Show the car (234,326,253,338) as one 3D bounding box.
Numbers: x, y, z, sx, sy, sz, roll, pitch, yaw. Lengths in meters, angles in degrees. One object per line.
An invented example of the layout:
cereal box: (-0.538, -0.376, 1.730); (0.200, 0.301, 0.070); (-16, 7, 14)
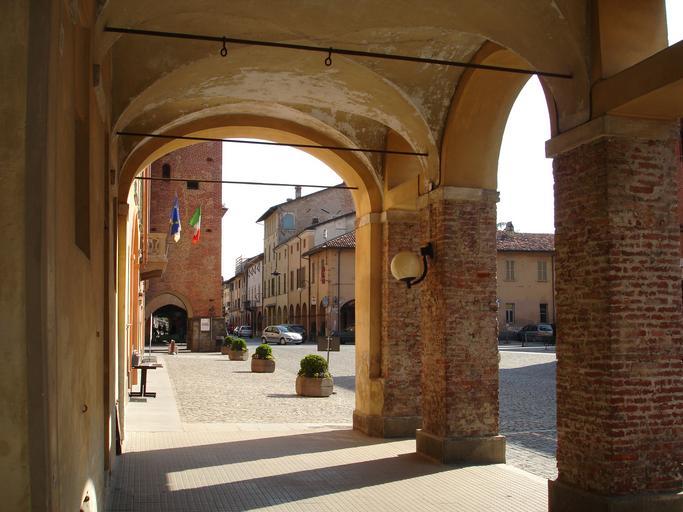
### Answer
car: (-8.915, 7.047, 68.216); (1.086, 1.027, 2.063); (1, 4, -13)

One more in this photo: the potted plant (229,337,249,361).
potted plant: (-4.094, 3.760, 29.614); (0.678, 0.831, 0.733); (2, -6, -5)

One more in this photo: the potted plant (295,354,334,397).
potted plant: (-0.641, 2.672, 16.797); (0.812, 0.955, 0.853); (-6, -7, 37)

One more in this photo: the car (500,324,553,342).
car: (11.512, 4.835, 45.019); (1.183, 0.998, 2.712); (3, 1, -24)

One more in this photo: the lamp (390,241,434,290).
lamp: (1.009, 0.138, 10.779); (0.586, 0.765, 0.545); (0, -3, 1)

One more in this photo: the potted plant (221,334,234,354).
potted plant: (-4.960, 3.967, 33.289); (0.767, 0.899, 0.818); (3, -9, -11)

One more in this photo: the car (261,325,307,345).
car: (-3.419, 4.845, 44.717); (1.120, 0.907, 2.266); (5, -11, -35)

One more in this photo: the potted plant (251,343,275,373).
potted plant: (-2.526, 3.288, 23.715); (0.711, 0.940, 0.757); (3, -9, -12)
